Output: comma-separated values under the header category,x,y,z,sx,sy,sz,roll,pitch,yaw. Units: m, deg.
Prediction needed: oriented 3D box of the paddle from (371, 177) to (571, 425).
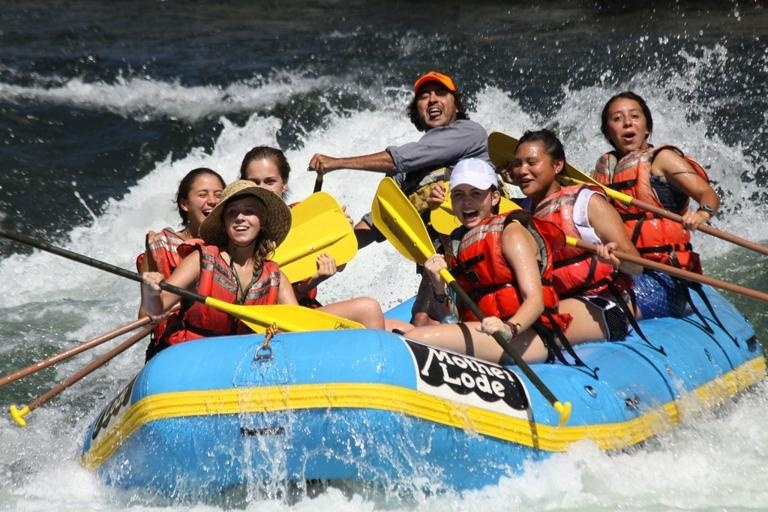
category,x,y,z,sx,sy,sz,roll,pitch,yaw
paddle,0.769,0.382,6.771,0.267,0.407,2.435,20,33,-57

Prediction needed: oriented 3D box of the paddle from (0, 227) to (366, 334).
category,x,y,z,sx,sy,sz,roll,pitch,yaw
paddle,-2.033,0.266,7.876,2.817,0.214,0.412,18,38,-5

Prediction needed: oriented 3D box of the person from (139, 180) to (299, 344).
category,x,y,z,sx,sy,sz,roll,pitch,yaw
person,-1.337,0.086,6.822,1.226,0.453,1.442,14,77,-22

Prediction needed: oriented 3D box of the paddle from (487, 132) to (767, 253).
category,x,y,z,sx,sy,sz,roll,pitch,yaw
paddle,2.511,-0.595,8.192,3.049,0.333,0.463,27,83,-2

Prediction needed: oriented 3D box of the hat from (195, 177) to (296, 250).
category,x,y,z,sx,sy,sz,roll,pitch,yaw
hat,-1.138,-0.440,6.853,0.845,0.298,0.662,5,-4,-39

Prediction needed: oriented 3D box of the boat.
category,x,y,z,sx,sy,sz,roll,pitch,yaw
boat,0.247,1.159,6.366,3.336,0.742,2.152,-6,15,-22

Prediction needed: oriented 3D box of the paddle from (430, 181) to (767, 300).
category,x,y,z,sx,sy,sz,roll,pitch,yaw
paddle,1.842,-0.119,7.353,1.876,0.209,0.661,24,41,8
